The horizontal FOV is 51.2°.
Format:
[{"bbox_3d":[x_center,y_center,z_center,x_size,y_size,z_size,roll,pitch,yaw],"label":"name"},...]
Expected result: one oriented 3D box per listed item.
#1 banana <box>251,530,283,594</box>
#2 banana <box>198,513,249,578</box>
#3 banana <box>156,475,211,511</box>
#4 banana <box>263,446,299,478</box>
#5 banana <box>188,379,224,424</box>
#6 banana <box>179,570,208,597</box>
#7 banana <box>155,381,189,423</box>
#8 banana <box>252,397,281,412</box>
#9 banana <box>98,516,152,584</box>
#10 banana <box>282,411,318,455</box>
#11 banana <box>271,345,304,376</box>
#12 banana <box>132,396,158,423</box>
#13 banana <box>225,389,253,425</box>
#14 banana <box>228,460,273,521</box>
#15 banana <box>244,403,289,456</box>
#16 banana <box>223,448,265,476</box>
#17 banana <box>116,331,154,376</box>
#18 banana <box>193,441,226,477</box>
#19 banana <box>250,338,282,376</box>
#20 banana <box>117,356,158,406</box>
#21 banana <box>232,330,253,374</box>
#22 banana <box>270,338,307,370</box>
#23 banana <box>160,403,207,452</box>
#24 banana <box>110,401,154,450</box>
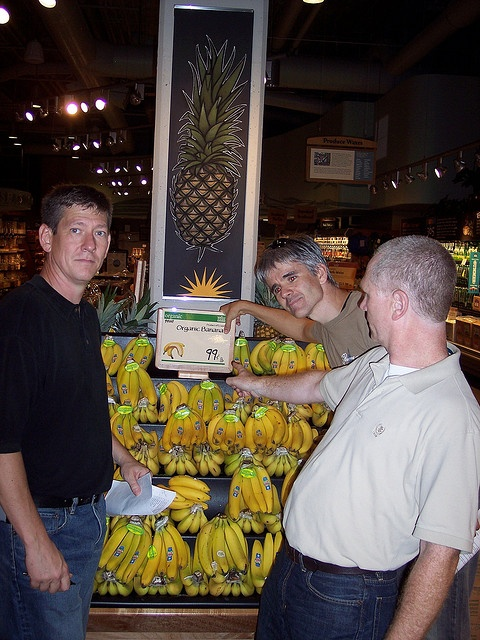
[{"bbox_3d":[0.127,1.113,2.318,0.135,0.066,0.248,-1,39,18],"label":"banana"},{"bbox_3d":[-0.078,1.025,2.281,0.219,0.271,0.103,7,-41,-5],"label":"banana"},{"bbox_3d":[-0.236,0.818,2.401,0.287,0.149,0.091,9,0,4],"label":"banana"},{"bbox_3d":[0.203,0.678,2.460,0.151,0.217,0.146,-2,-11,22],"label":"banana"},{"bbox_3d":[-0.182,0.427,2.610,0.183,0.235,0.175,13,27,14],"label":"banana"},{"bbox_3d":[-0.203,1.201,2.284,0.090,0.051,0.120,5,15,-17],"label":"banana"},{"bbox_3d":[-0.341,0.411,2.516,0.151,0.202,0.071,8,-3,30],"label":"banana"},{"bbox_3d":[0.141,0.424,2.494,0.104,0.043,0.067,13,-20,-11],"label":"banana"},{"bbox_3d":[-0.489,0.996,2.226,0.199,0.322,0.085,26,4,4],"label":"banana"},{"bbox_3d":[0.285,0.558,2.493,0.153,0.201,0.071,-22,4,-31],"label":"banana"},{"bbox_3d":[0.252,0.218,2.570,0.153,0.192,0.152,-7,-13,32],"label":"banana"},{"bbox_3d":[-0.452,0.437,2.511,0.125,0.172,0.124,-6,-4,0],"label":"banana"},{"bbox_3d":[-0.007,0.428,2.563,0.138,0.084,0.183,-9,24,6],"label":"banana"},{"bbox_3d":[0.058,0.794,2.352,0.217,0.074,0.272,-9,44,4],"label":"banana"},{"bbox_3d":[0.115,0.494,2.434,0.219,0.289,0.092,-17,-33,19],"label":"banana"},{"bbox_3d":[0.002,0.667,2.414,0.160,0.112,0.161,-2,-1,10],"label":"banana"},{"bbox_3d":[-0.528,0.160,2.540,0.119,0.200,0.099,33,29,24],"label":"banana"},{"bbox_3d":[-0.154,0.686,2.490,0.116,0.163,0.084,-3,-31,-1],"label":"banana"},{"bbox_3d":[0.135,0.175,2.624,0.157,0.183,0.060,32,20,5],"label":"banana"},{"bbox_3d":[-0.514,0.312,2.499,0.177,0.238,0.083,-4,17,-1],"label":"banana"},{"bbox_3d":[0.005,0.168,2.632,0.086,0.175,0.046,1,1,44],"label":"banana"},{"bbox_3d":[0.252,0.179,2.548,0.155,0.195,0.152,-4,-8,18],"label":"banana"},{"bbox_3d":[-0.278,0.536,2.443,0.165,0.217,0.147,9,-3,42],"label":"banana"},{"bbox_3d":[-0.538,0.530,2.430,0.118,0.252,0.150,-29,24,26],"label":"banana"}]
